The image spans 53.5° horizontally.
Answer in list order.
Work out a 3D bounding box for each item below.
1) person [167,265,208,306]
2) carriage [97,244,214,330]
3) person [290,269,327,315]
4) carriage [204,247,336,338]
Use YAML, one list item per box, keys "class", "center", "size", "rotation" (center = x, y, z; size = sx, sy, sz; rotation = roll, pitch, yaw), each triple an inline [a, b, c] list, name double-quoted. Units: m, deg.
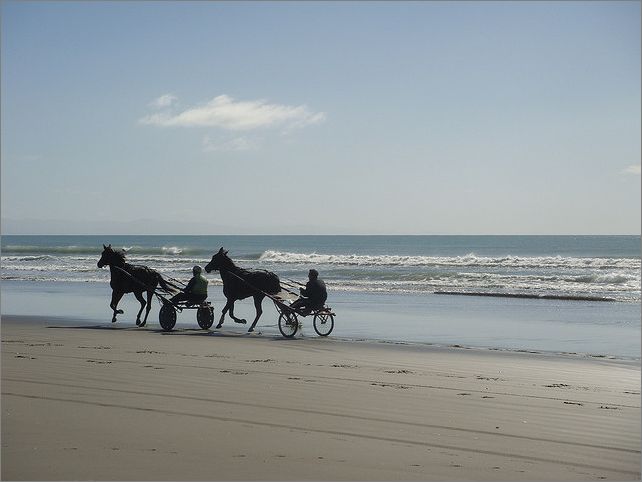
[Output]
- class: "person"
  center: [-3.775, 1.325, 18.439]
  size: [0.934, 0.903, 0.654]
  rotation: [1, 0, 11]
- class: "carriage"
  center: [-5.257, 1.401, 20.435]
  size: [5.101, 2.703, 1.851]
  rotation: [3, 2, 33]
- class: "person"
  center: [-0.305, 1.428, 17.754]
  size: [0.902, 1.044, 0.546]
  rotation: [1, 0, 4]
- class: "carriage"
  center: [-1.811, 1.575, 18.747]
  size: [3.602, 1.810, 1.220]
  rotation: [6, 0, 21]
